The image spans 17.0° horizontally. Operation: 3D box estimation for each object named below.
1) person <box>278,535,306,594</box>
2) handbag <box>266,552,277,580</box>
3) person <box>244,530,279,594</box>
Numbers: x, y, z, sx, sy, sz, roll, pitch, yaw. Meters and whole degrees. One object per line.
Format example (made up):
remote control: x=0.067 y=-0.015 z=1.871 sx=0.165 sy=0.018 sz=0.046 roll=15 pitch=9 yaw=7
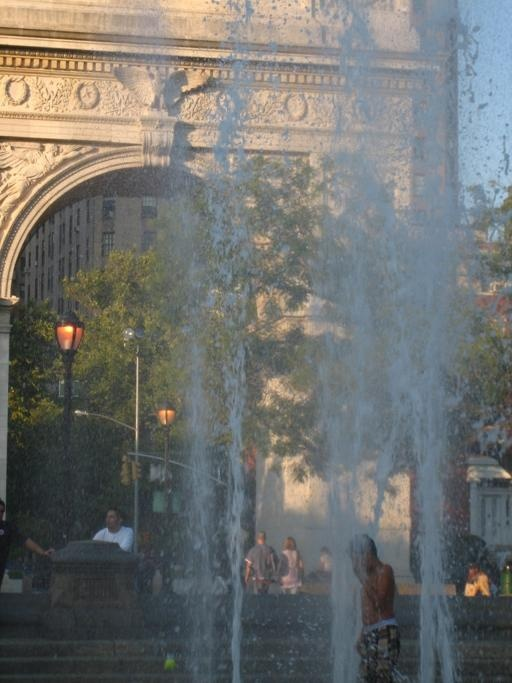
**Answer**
person: x=0.528 y=3.340 z=25.717 sx=0.334 sy=0.928 sz=0.791 roll=0 pitch=-12 yaw=1
handbag: x=0.248 y=3.356 z=25.681 sx=0.087 sy=0.374 sz=0.221 roll=3 pitch=0 yaw=-5
person: x=0.082 y=3.424 z=25.774 sx=0.431 sy=1.344 sz=0.244 roll=-2 pitch=27 yaw=-9
